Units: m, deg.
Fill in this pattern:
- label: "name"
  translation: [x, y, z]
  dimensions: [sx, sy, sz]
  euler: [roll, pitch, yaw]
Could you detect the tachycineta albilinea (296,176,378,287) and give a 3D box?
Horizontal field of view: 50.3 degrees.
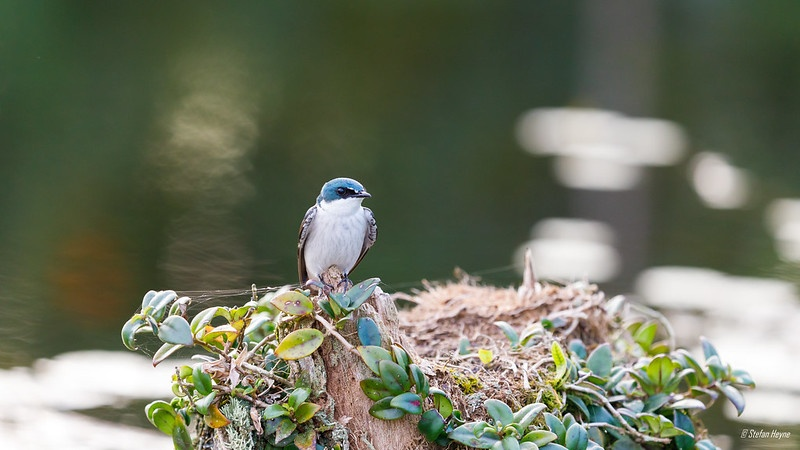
- label: "tachycineta albilinea"
  translation: [-0.485, 0.053, 6.566]
  dimensions: [0.581, 0.708, 0.375]
  euler: [6, -2, -3]
